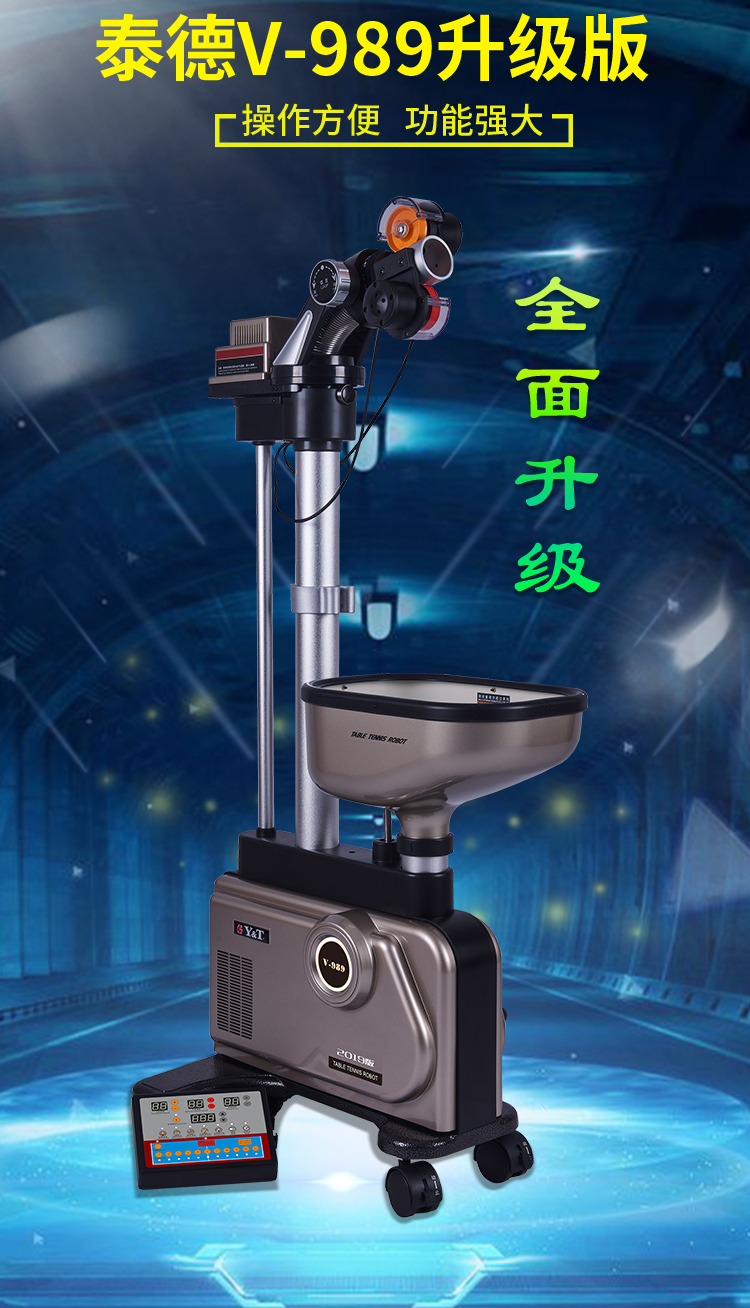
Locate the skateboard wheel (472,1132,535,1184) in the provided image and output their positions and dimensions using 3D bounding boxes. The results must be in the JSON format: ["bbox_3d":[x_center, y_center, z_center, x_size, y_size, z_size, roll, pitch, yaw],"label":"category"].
[{"bbox_3d":[0.184,0.729,1.700,0.080,0.096,0.088,1,3,0],"label":"skateboard wheel"}]

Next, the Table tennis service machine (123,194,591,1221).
[{"bbox_3d":[-0.081,0.051,1.762,0.542,1.432,0.756,0,3,-24],"label":"Table tennis service machine"}]
